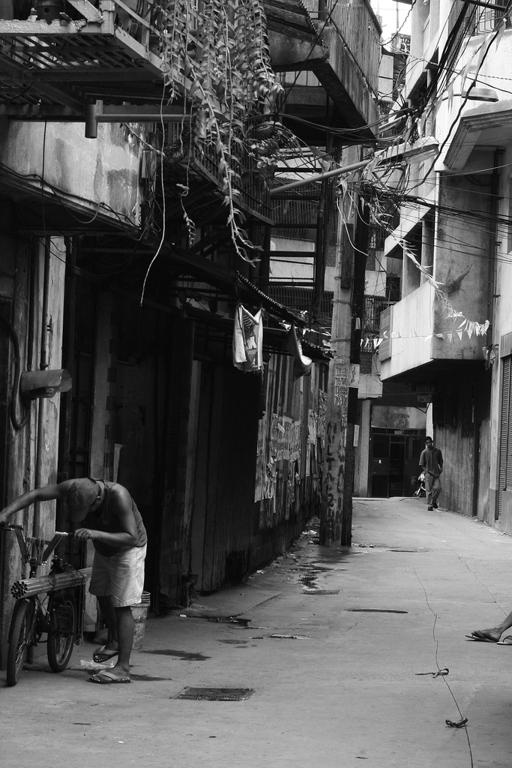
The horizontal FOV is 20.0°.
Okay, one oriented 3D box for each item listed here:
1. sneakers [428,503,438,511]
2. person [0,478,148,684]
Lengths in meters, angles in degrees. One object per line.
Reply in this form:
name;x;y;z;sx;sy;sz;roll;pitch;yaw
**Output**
sneakers;4.038;2.798;32.986;0.132;0.234;0.482;1;2;12
person;-1.203;1.290;9.471;0.565;1.476;0.754;17;24;41
